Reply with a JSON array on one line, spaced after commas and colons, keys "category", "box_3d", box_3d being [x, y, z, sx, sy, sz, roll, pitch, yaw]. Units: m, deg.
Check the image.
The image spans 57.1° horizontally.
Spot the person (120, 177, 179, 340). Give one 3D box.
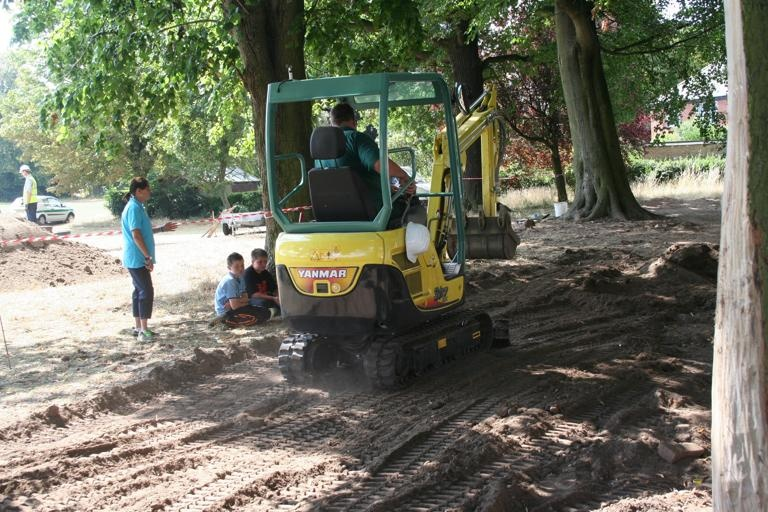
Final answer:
[{"category": "person", "box_3d": [-3.611, 0.046, 10.398, 0.524, 1.909, 0.428, -7, 4, 3]}]

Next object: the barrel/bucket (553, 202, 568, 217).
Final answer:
[{"category": "barrel/bucket", "box_3d": [5.157, -1.328, 20.832, 0.490, 0.486, 0.493, 2, 8, 0]}]

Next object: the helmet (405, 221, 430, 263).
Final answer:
[{"category": "helmet", "box_3d": [0.402, -0.163, 8.442, 0.332, 0.479, 0.203, -9, 5, -27]}]

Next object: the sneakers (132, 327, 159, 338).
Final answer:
[{"category": "sneakers", "box_3d": [-3.574, 1.120, 10.557, 0.389, 0.162, 0.150, 1, 3, 4]}]

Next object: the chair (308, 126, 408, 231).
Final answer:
[{"category": "chair", "box_3d": [-0.293, -1.075, 8.766, 1.091, 1.486, 0.858, -7, -6, 41]}]

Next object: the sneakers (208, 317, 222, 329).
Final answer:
[{"category": "sneakers", "box_3d": [-2.666, 1.031, 11.072, 0.167, 0.090, 0.212, 1, 12, 22]}]

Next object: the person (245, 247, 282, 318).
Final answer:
[{"category": "person", "box_3d": [-1.857, 0.395, 11.031, 0.704, 0.940, 0.701, 8, 10, 35]}]

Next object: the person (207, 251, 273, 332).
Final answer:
[{"category": "person", "box_3d": [-2.214, 0.482, 10.962, 0.871, 1.080, 0.709, -2, 14, 4]}]
